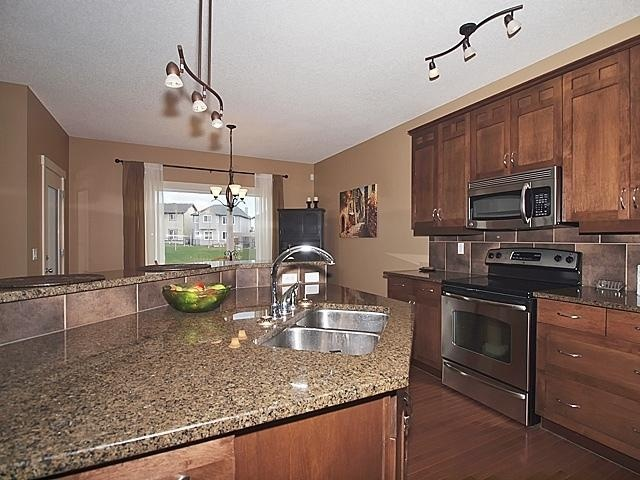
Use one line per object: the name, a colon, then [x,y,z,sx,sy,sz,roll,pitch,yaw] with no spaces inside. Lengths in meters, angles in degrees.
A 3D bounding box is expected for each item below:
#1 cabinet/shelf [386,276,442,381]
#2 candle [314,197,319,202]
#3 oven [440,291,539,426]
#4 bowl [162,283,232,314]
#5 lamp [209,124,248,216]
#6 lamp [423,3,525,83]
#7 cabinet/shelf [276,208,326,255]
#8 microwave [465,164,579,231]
cabinet/shelf: [0.923,0.813,4.347,0.286,0.949,0.726,-1,2,-19]
candle: [-0.067,-0.634,6.773,0.090,0.091,0.093,-1,-5,10]
oven: [1.495,0.850,3.819,0.665,1.005,0.814,-9,11,-39]
bowl: [-0.748,0.355,2.722,0.385,0.174,0.222,-1,2,-12]
lamp: [-1.220,-0.887,6.031,0.447,1.064,1.936,-1,2,-9]
lamp: [1.214,-1.589,3.547,0.097,0.182,0.502,32,-43,-23]
cabinet/shelf: [-0.268,-0.139,6.223,0.687,0.917,0.337,0,-1,8]
microwave: [1.683,-0.223,3.687,0.406,0.453,0.674,1,-1,-23]
